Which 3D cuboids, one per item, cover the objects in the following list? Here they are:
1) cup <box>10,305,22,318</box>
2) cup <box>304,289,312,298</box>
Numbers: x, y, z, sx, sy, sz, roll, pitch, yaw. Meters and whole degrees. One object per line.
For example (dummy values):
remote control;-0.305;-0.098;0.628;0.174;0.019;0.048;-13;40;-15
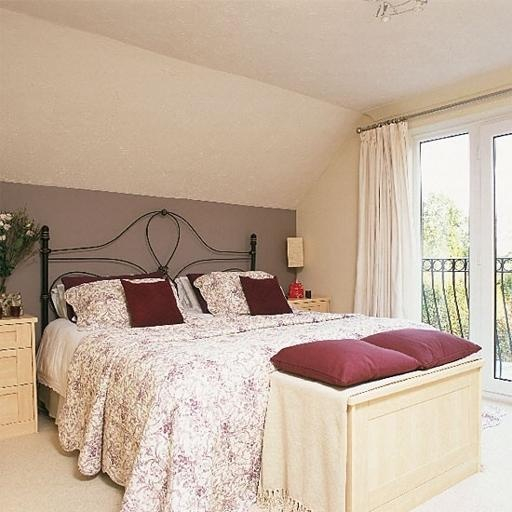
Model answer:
cup;-1.620;0.374;3.221;0.078;0.073;0.069;4;-5;-27
cup;0.533;0.397;4.883;0.070;0.075;0.072;1;-3;0
